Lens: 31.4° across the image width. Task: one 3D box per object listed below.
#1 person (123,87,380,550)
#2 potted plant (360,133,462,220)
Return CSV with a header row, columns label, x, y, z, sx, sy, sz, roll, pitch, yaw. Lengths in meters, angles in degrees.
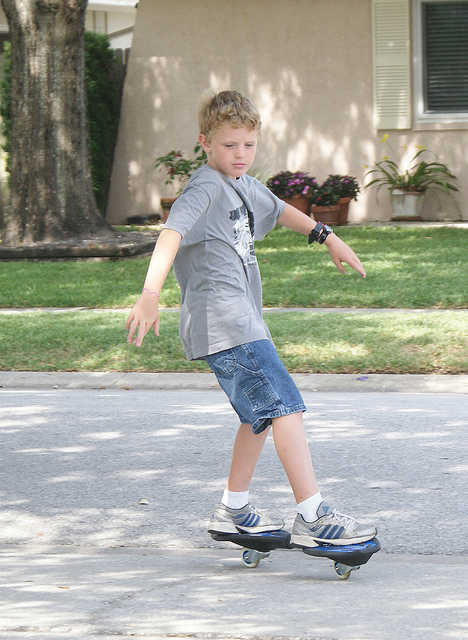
label,x,y,z,sx,sy,sz,roll,pitch,yaw
person,0.082,-0.011,2.797,0.673,1.525,1.026,1,9,9
potted plant,3.226,-2.491,15.303,1.642,1.108,1.536,3,2,35
